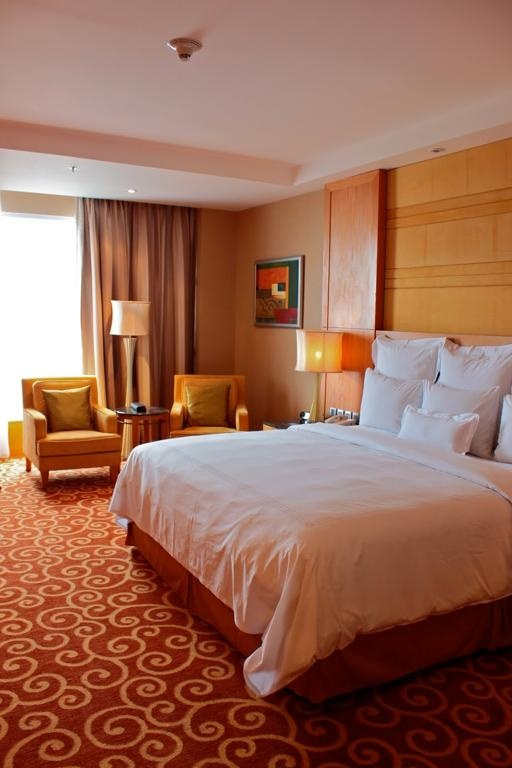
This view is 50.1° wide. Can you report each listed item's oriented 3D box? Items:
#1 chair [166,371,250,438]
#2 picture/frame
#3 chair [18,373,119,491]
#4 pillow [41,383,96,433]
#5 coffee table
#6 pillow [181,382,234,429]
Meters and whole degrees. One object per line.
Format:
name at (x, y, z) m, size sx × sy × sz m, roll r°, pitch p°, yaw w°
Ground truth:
chair at (-0.447, 0.203, 5.197) m, size 0.694 × 0.717 × 0.533 m, roll 0°, pitch -5°, yaw -6°
picture/frame at (0.191, -0.920, 5.622) m, size 0.025 × 0.694 × 0.805 m, roll 11°, pitch 15°, yaw 42°
chair at (-1.608, 0.404, 4.747) m, size 0.707 × 0.907 × 0.756 m, roll -2°, pitch 3°, yaw -27°
pillow at (-1.656, 0.226, 4.793) m, size 0.358 × 0.387 × 0.134 m, roll -4°, pitch -21°, yaw -29°
coffee table at (-1.112, 0.465, 5.431) m, size 0.578 × 0.643 × 0.585 m, roll 2°, pitch 15°, yaw 4°
pillow at (-0.462, 0.219, 5.132) m, size 0.382 × 0.404 × 0.142 m, roll -1°, pitch -18°, yaw -3°
